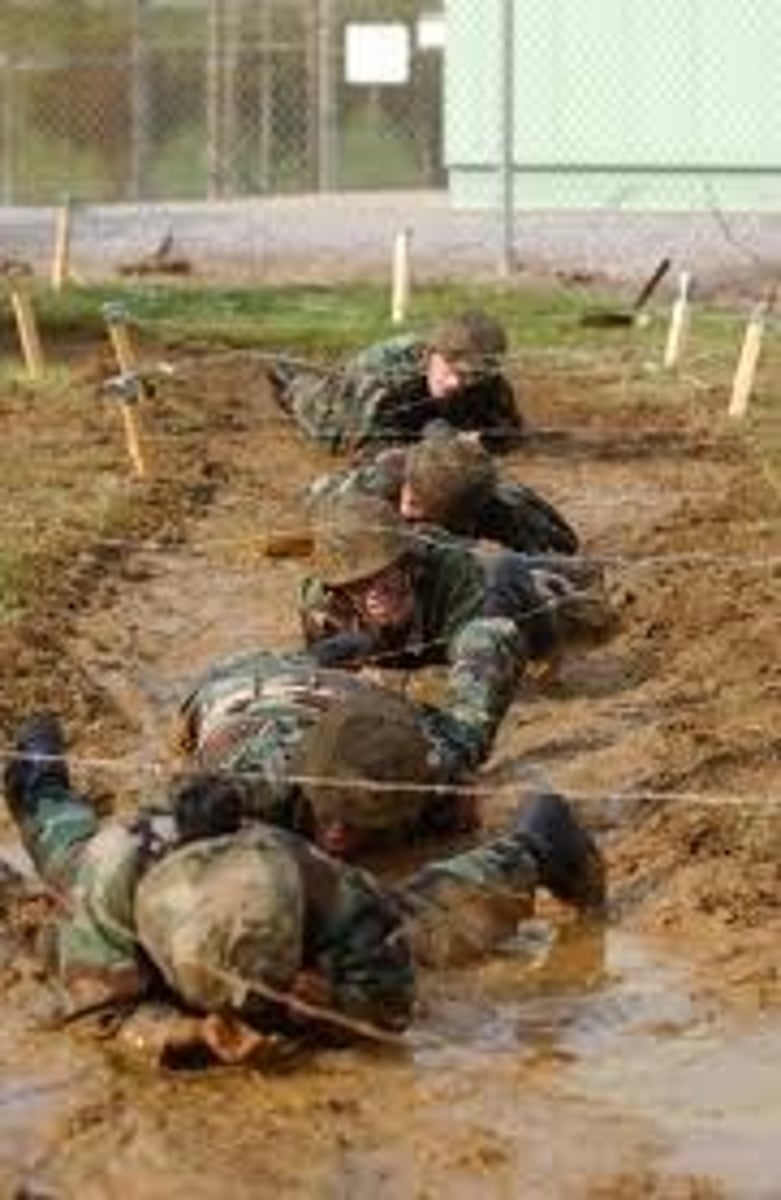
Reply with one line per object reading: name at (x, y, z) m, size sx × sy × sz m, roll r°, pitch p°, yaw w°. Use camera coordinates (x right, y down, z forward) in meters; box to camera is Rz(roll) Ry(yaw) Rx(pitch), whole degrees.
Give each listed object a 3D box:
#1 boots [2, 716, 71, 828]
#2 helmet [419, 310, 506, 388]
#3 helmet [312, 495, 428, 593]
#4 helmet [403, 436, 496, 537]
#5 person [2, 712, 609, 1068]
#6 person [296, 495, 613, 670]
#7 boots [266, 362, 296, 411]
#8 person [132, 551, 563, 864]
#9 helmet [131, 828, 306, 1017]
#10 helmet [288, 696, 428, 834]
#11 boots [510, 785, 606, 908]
boots at (-0.907, 0.436, 3.488) m, size 0.144 × 0.153 × 0.359 m, roll 15°, pitch 21°, yaw -15°
helmet at (0.408, -1.338, 7.197) m, size 0.407 × 0.376 × 0.347 m, roll 4°, pitch 20°, yaw 3°
helmet at (-0.110, -0.195, 4.946) m, size 0.330 × 0.231 × 0.399 m, roll -25°, pitch 18°, yaw -14°
helmet at (0.235, -0.488, 5.556) m, size 0.358 × 0.338 × 0.433 m, roll 4°, pitch 15°, yaw -3°
person at (-0.285, 0.739, 3.159) m, size 0.990 × 0.329 × 0.915 m, roll 4°, pitch 18°, yaw 4°
person at (0.244, -0.053, 5.268) m, size 1.153 × 0.456 × 0.829 m, roll -8°, pitch 0°, yaw -44°
boots at (-0.750, -1.479, 9.163) m, size 0.172 × 0.329 × 0.345 m, roll -13°, pitch 26°, yaw -4°
person at (-0.086, 0.354, 3.993) m, size 0.795 × 0.392 × 1.011 m, roll 10°, pitch 28°, yaw 7°
helmet at (-0.362, 0.674, 2.932) m, size 0.370 × 0.383 × 0.305 m, roll -33°, pitch -11°, yaw -16°
helmet at (-0.062, 0.414, 3.593) m, size 0.321 × 0.276 × 0.385 m, roll 9°, pitch 12°, yaw 5°
boots at (0.477, 0.693, 3.702) m, size 0.232 × 0.322 × 0.134 m, roll -23°, pitch 8°, yaw 20°
